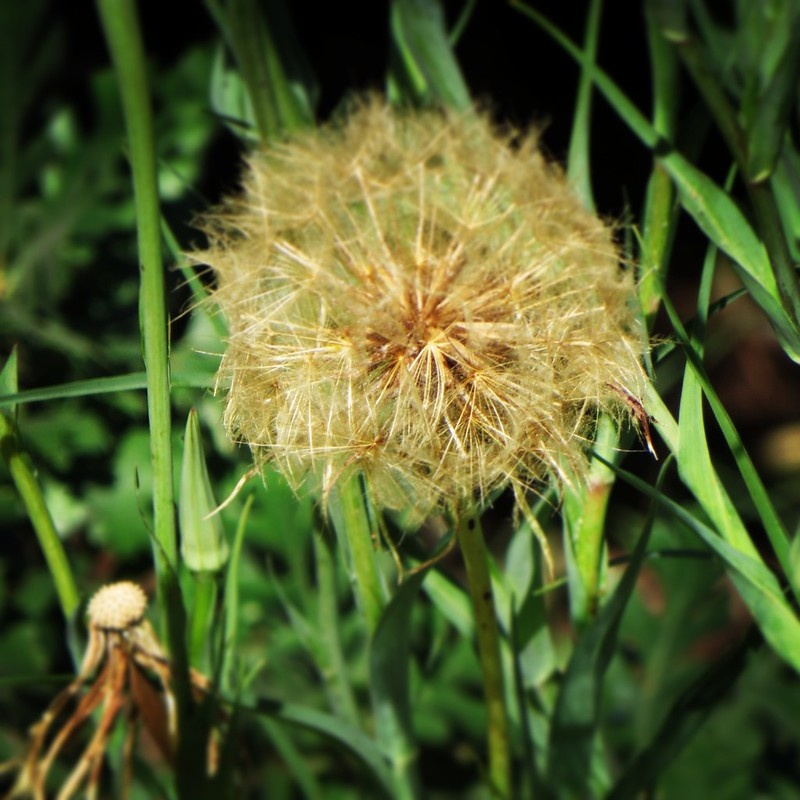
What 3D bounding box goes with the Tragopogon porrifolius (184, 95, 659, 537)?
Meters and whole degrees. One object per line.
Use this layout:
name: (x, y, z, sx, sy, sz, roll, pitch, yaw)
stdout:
Tragopogon porrifolius: (0.021, -0.087, 0.882, 0.381, 0.389, 0.323, -20, 19, 18)
